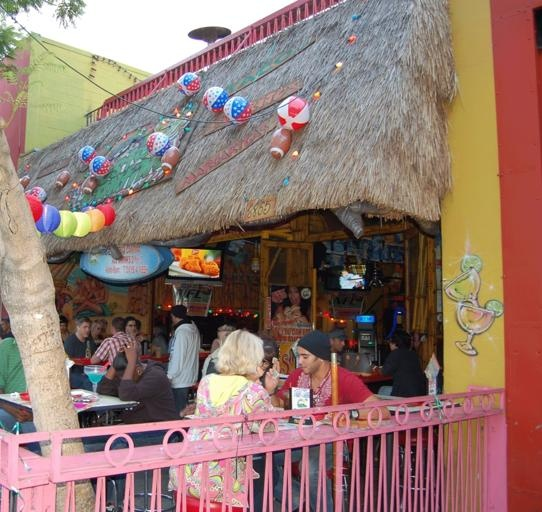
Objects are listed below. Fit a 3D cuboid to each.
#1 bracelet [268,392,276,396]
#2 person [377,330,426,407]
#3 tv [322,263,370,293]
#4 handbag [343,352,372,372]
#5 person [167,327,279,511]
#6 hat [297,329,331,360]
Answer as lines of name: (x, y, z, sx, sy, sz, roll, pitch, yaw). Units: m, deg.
bracelet: (0.014, 1.115, 5.463, 0.086, 0.019, 0.081, -1, -5, 5)
person: (1.444, 1.332, 7.542, 0.414, 1.171, 0.433, 16, 36, 37)
tv: (1.462, 0.434, 13.038, 0.960, 0.604, 0.498, 1, -13, -8)
handbag: (1.137, 1.420, 8.928, 0.340, 0.215, 0.235, -1, -12, 15)
person: (-0.287, 1.006, 4.167, 0.604, 1.008, 0.935, 0, 3, -3)
hat: (0.339, 0.677, 5.221, 0.252, 0.166, 0.179, 34, -10, -35)
